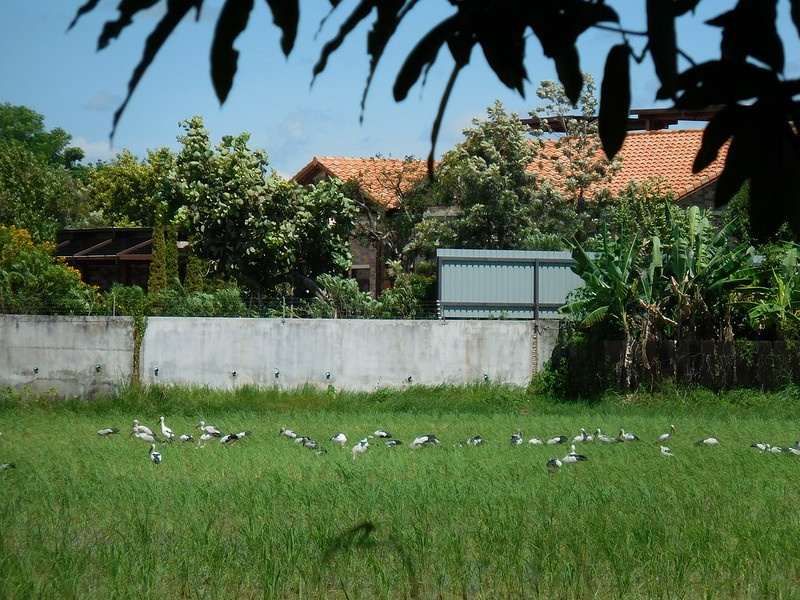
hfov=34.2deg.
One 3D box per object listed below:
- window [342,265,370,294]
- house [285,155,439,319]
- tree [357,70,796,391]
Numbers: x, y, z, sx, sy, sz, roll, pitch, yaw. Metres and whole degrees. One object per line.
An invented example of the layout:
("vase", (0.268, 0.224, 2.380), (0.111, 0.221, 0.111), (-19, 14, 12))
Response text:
("window", (-1.419, -0.667, 41.725), (0.852, 1.469, 0.701), (-2, 5, -7))
("house", (-0.908, -1.739, 39.660), (3.844, 4.904, 4.069), (5, -2, -11))
("tree", (4.165, -2.619, 34.199), (6.258, 6.526, 8.707), (-3, 5, -36))
